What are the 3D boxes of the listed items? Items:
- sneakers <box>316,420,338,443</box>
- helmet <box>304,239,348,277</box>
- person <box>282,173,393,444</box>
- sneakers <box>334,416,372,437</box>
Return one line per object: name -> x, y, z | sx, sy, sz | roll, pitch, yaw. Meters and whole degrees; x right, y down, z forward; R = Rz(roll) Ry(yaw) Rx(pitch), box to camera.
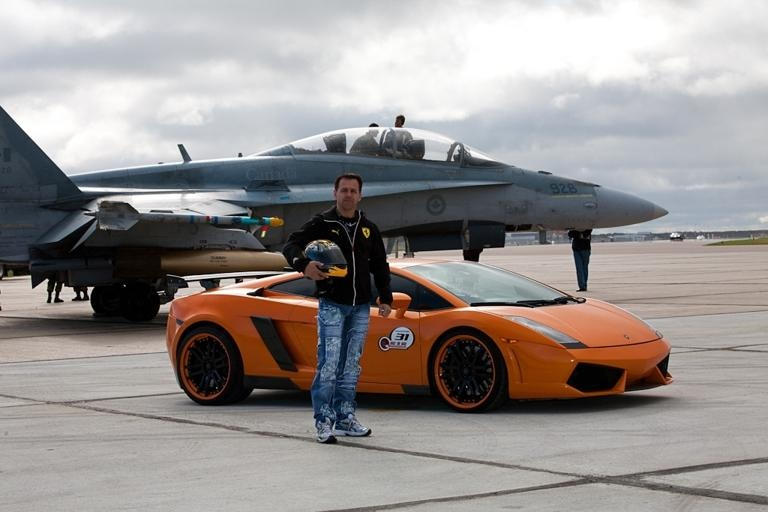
sneakers -> -0.525, 1.612, 6.448 | 0.179, 0.195, 0.249 | -1, 3, -5
helmet -> -0.519, 0.031, 6.396 | 0.466, 0.252, 0.293 | 2, 12, 6
person -> -0.399, 0.464, 6.608 | 0.942, 2.477, 0.510 | -3, 4, -32
sneakers -> -0.383, 1.618, 6.605 | 0.490, 0.169, 0.145 | 0, -3, 15
